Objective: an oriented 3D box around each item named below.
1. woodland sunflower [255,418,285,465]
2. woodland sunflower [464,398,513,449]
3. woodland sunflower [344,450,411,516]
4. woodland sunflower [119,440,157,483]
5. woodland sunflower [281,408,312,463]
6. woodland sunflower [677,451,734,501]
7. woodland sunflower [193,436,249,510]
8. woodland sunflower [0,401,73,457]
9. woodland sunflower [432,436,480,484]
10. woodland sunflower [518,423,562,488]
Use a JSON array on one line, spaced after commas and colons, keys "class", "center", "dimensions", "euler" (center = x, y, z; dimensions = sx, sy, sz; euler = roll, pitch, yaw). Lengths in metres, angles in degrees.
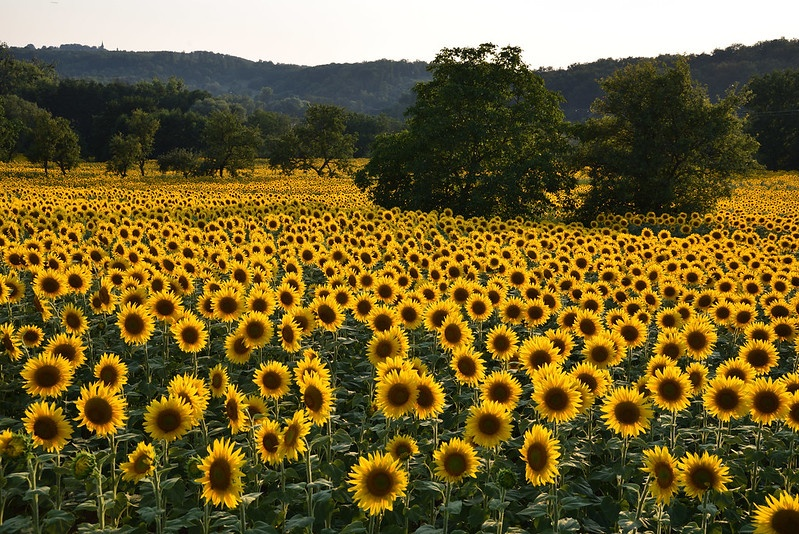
[{"class": "woodland sunflower", "center": [-1.986, 2.673, 11.797], "dimensions": [0.089, 0.633, 0.610], "euler": [-12, 29, -40]}, {"class": "woodland sunflower", "center": [1.395, 2.512, 12.014], "dimensions": [0.706, 0.830, 0.375], "euler": [6, 12, 5]}, {"class": "woodland sunflower", "center": [-0.306, 3.307, 11.515], "dimensions": [0.849, 1.124, 0.411], "euler": [5, 12, -1]}, {"class": "woodland sunflower", "center": [-3.932, 2.955, 11.610], "dimensions": [0.515, 0.698, 0.350], "euler": [2, 13, -15]}, {"class": "woodland sunflower", "center": [-1.611, 2.581, 11.846], "dimensions": [0.467, 0.768, 0.338], "euler": [0, 13, -23]}, {"class": "woodland sunflower", "center": [4.709, 3.236, 11.873], "dimensions": [0.840, 0.775, 0.110], "euler": [13, 7, 7]}, {"class": "woodland sunflower", "center": [-2.641, 3.088, 11.496], "dimensions": [0.672, 1.175, 0.599], "euler": [4, 12, -5]}, {"class": "woodland sunflower", "center": [-5.631, 2.551, 11.978], "dimensions": [1.020, 1.015, 0.225], "euler": [-1, -4, -35]}, {"class": "woodland sunflower", "center": [0.857, 2.958, 11.716], "dimensions": [0.671, 0.694, 0.347], "euler": [6, 12, 3]}, {"class": "woodland sunflower", "center": [2.160, 2.909, 11.690], "dimensions": [0.641, 1.071, 0.477], "euler": [3, 12, -9]}]
